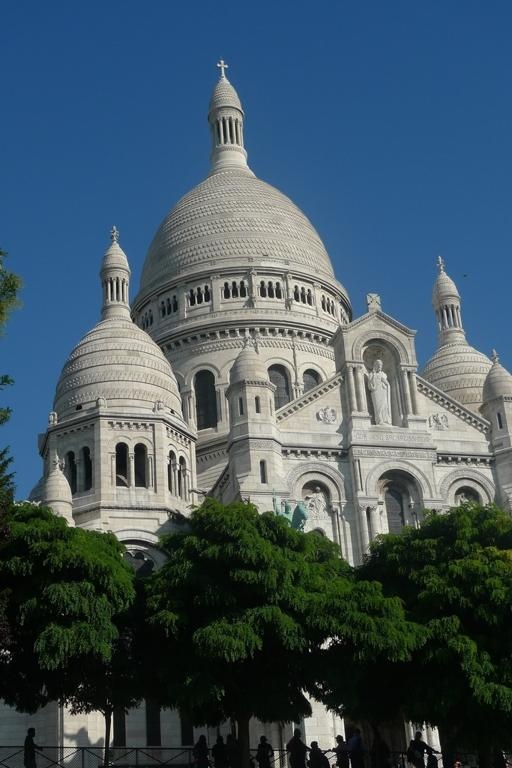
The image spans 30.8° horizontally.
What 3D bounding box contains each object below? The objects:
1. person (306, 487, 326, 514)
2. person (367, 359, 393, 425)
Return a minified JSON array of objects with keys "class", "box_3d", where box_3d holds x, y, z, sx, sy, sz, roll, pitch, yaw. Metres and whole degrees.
[{"class":"person","box_3d":[2.671,5.231,41.467,1.228,1.350,0.360,4,-43,-1]},{"class":"person","box_3d":[5.799,0.444,44.051,0.874,3.273,0.617,-2,-21,-7]}]
